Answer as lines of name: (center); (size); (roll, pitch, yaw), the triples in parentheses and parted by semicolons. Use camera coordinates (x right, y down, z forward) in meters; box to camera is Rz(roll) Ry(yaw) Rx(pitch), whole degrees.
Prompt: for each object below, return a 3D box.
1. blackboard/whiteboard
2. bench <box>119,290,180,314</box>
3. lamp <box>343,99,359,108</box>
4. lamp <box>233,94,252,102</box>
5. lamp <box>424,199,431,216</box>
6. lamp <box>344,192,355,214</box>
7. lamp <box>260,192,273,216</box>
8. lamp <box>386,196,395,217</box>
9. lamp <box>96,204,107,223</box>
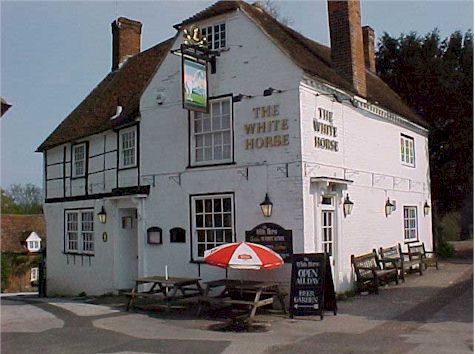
blackboard/whiteboard: (2.187, 3.334, 18.852); (1.258, 2.652, 0.954); (-4, -22, 17)
bench: (-3.197, 4.202, 21.488); (1.555, 0.673, 3.564); (-5, -1, -13)
lamp: (4.148, -2.694, 22.440); (0.329, 0.333, 0.952); (-5, -1, 31)
lamp: (0.119, -2.717, 21.177); (0.272, 0.240, 0.498); (-2, -2, 42)
lamp: (8.669, 1.425, 28.117); (0.192, 0.716, 0.657); (-4, 0, 29)
lamp: (3.960, 0.999, 21.907); (0.302, 0.795, 0.468); (-4, -1, 31)
lamp: (0.969, 0.943, 20.493); (0.436, 0.793, 0.258); (-4, 0, 3)
lamp: (6.114, 1.205, 24.627); (0.224, 0.785, 0.885); (-4, 0, 27)
lamp: (-5.636, 1.569, 25.521); (0.259, 0.708, 0.493); (-4, -1, -44)
